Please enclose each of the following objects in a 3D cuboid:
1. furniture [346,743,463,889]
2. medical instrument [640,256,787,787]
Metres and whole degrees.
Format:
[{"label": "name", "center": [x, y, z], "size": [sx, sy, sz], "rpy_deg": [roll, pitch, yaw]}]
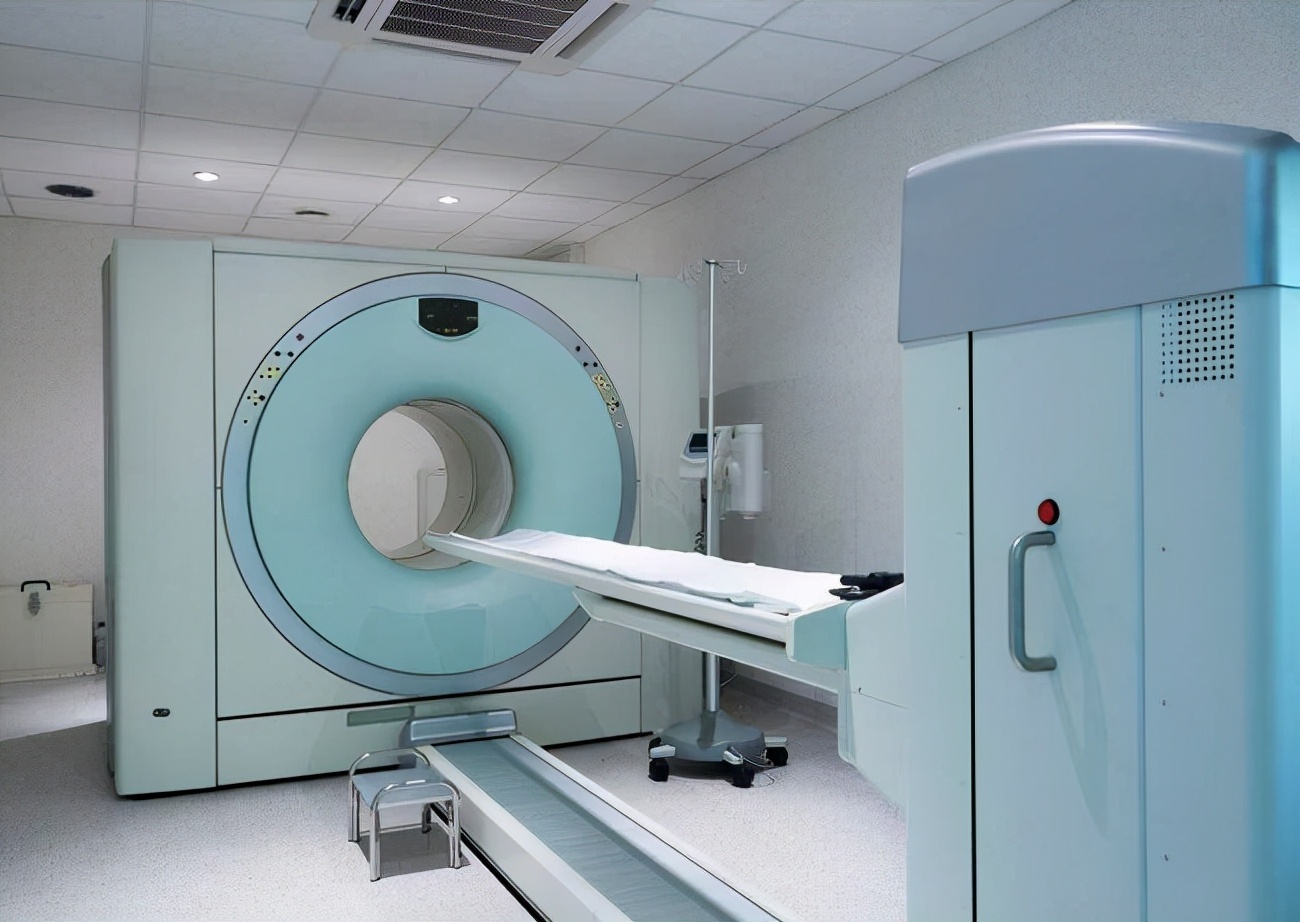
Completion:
[{"label": "furniture", "center": [-0.786, 1.092, 3.146], "size": [0.313, 0.297, 0.381], "rpy_deg": [1, -2, -22]}, {"label": "medical instrument", "center": [0.203, 0.184, 4.217], "size": [0.601, 2.254, 0.665], "rpy_deg": [4, -14, -3]}]
